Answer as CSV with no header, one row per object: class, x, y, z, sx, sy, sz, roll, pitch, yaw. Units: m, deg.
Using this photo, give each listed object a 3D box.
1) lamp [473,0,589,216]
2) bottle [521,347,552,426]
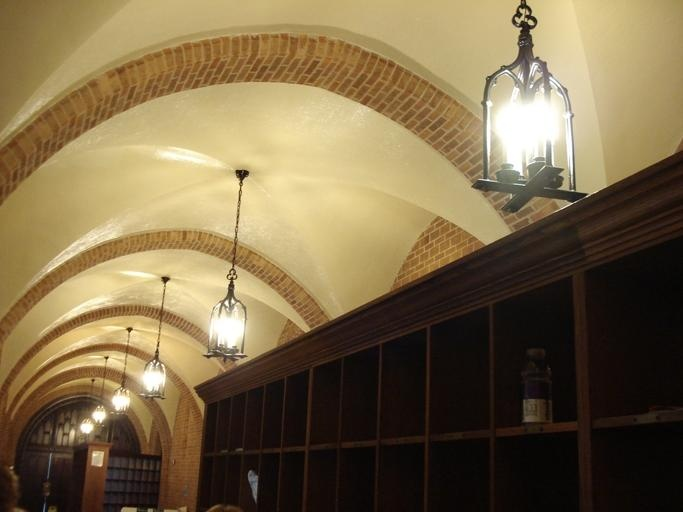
lamp,1.111,-1.071,3.621,0.598,1.759,0.667,-14,-29,28
bottle,1.121,0.752,3.269,0.181,0.487,0.417,-7,-27,17
